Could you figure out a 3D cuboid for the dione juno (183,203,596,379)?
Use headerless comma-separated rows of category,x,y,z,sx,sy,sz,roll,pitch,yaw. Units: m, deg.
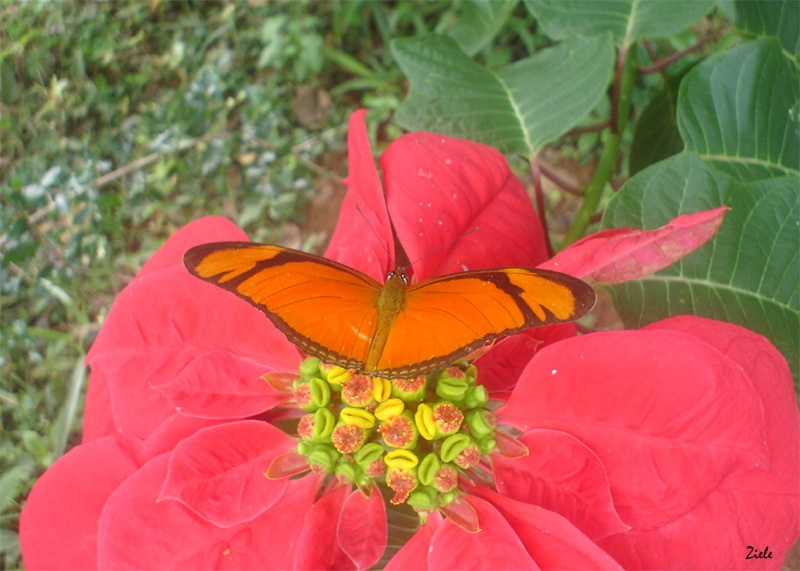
dione juno,-0.011,0.015,0.893,0.445,0.176,0.120,8,-7,2
